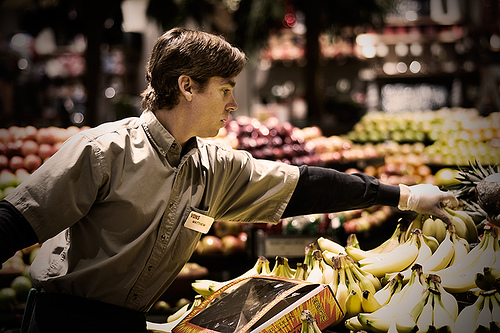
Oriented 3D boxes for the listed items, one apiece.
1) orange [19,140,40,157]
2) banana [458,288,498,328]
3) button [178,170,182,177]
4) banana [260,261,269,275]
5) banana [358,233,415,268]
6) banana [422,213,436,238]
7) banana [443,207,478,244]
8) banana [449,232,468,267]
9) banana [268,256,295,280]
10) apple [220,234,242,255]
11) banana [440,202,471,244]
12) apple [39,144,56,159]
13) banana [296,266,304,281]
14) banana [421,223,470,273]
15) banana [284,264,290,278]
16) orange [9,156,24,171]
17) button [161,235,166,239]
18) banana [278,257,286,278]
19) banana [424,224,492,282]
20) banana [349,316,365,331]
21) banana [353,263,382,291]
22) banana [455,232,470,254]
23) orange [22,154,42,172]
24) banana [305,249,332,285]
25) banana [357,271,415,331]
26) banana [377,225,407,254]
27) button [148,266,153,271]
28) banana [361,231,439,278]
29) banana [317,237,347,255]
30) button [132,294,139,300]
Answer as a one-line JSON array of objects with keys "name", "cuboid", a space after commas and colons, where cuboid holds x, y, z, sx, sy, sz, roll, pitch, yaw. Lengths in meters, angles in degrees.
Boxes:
[{"name": "orange", "cuboid": [-2.293, -0.187, 6.952, 0.176, 0.180, 0.156, 5, 1, -27]}, {"name": "banana", "cuboid": [1.773, 1.111, 5.137, 0.215, 0.341, 0.087, 25, -2, 25]}, {"name": "button", "cuboid": [-0.563, 0.057, 5.398, 0.007, 0.051, 0.034, 10, 13, 39]}, {"name": "banana", "cuboid": [0.122, 0.854, 5.606, 0.073, 0.095, 0.073, -1, -5, 32]}, {"name": "banana", "cuboid": [1.177, 0.727, 5.778, 0.390, 0.142, 0.081, -38, -3, -3]}, {"name": "banana", "cuboid": [1.475, 0.491, 5.530, 0.058, 0.269, 0.083, -2, 5, 18]}, {"name": "banana", "cuboid": [1.720, 0.491, 5.484, 0.095, 0.272, 0.086, -41, -3, 11]}, {"name": "banana", "cuboid": [1.673, 0.670, 5.375, 0.093, 0.288, 0.077, 11, -10, -33]}, {"name": "banana", "cuboid": [0.261, 0.854, 5.689, 0.138, 0.155, 0.212, 10, -10, -18]}, {"name": "apple", "cuboid": [-0.200, 0.806, 6.882, 0.156, 0.182, 0.207, 1, -31, 6]}, {"name": "banana", "cuboid": [1.676, 0.476, 5.477, 0.073, 0.295, 0.106, -38, -10, 33]}, {"name": "apple", "cuboid": [-2.109, -0.157, 6.970, 0.127, 0.150, 0.162, 13, 15, -24]}, {"name": "banana", "cuboid": [0.423, 0.877, 5.546, 0.030, 0.109, 0.063, 15, -4, -24]}, {"name": "banana", "cuboid": [1.591, 0.667, 5.407, 0.228, 0.351, 0.112, 42, -4, -10]}, {"name": "banana", "cuboid": [0.313, 0.872, 5.618, 0.019, 0.113, 0.036, -13, -6, -4]}, {"name": "orange", "cuboid": [-2.371, -0.028, 6.861, 0.111, 0.156, 0.132, 4, -44, -3]}, {"name": "button", "cuboid": [-0.690, 0.558, 5.348, 0.035, 0.027, 0.005, 1, 10, -10]}, {"name": "banana", "cuboid": [0.269, 0.843, 5.618, 0.037, 0.165, 0.052, -6, -17, 31]}, {"name": "banana", "cuboid": [1.661, 0.706, 5.351, 0.508, 0.206, 0.095, -39, 8, 1]}, {"name": "banana", "cuboid": [0.829, 1.214, 5.220, 0.076, 0.075, 0.096, -2, 5, 2]}, {"name": "banana", "cuboid": [0.953, 0.893, 5.407, 0.206, 0.079, 0.060, 42, -30, -3]}, {"name": "banana", "cuboid": [1.715, 0.619, 5.426, 0.083, 0.128, 0.031, -9, -33, -43]}, {"name": "orange", "cuboid": [-2.166, -0.024, 6.646, 0.119, 0.142, 0.150, 15, 5, -22]}, {"name": "banana", "cuboid": [0.582, 0.812, 5.531, 0.212, 0.419, 0.161, 4, 36, 6]}, {"name": "banana", "cuboid": [1.072, 1.063, 5.241, 0.165, 0.471, 0.100, 46, -23, -23]}, {"name": "banana", "cuboid": [1.293, 0.665, 6.107, 0.117, 0.315, 0.071, 31, 7, -45]}, {"name": "button", "cuboid": [-0.798, 0.806, 5.341, 0.033, 0.039, 0.009, -2, -1, -8]}, {"name": "banana", "cuboid": [1.257, 0.733, 5.528, 0.375, 0.110, 0.143, -32, -43, 2]}, {"name": "banana", "cuboid": [0.717, 0.699, 5.924, 0.203, 0.074, 0.059, 32, 22, 16]}, {"name": "button", "cuboid": [-0.916, 1.035, 5.341, 0.033, 0.041, 0.009, 1, -1, -6]}]
